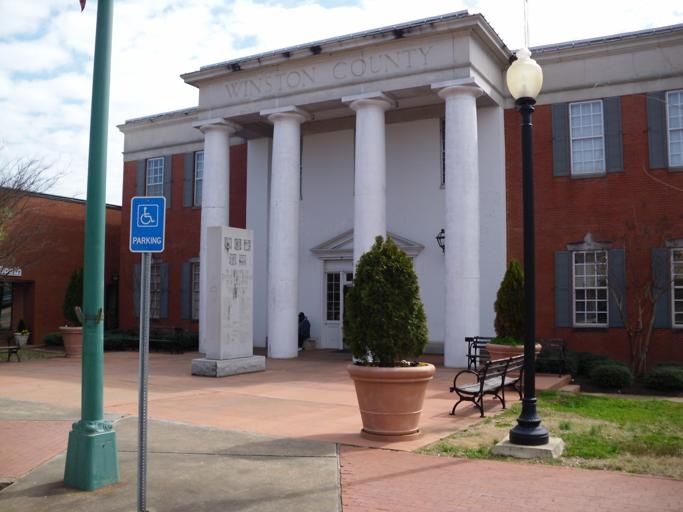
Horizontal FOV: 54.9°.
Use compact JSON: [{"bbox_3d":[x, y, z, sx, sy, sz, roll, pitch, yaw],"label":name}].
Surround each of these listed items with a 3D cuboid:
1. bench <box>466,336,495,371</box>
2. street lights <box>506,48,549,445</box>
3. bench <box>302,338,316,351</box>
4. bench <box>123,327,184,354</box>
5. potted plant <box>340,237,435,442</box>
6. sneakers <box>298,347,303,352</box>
[{"bbox_3d":[3.615,2.563,17.168,1.079,0.716,0.434,2,-9,-16],"label":"bench"},{"bbox_3d":[2.940,-0.273,10.452,0.612,6.397,0.511,5,-7,-45],"label":"street lights"},{"bbox_3d":[-1.193,3.375,24.973,0.372,0.359,0.470,0,-2,15],"label":"bench"},{"bbox_3d":[-7.278,3.376,26.386,4.487,0.895,2.180,-5,-8,43],"label":"bench"},{"bbox_3d":[0.752,1.304,10.754,1.375,3.345,0.696,0,-5,4],"label":"potted plant"},{"bbox_3d":[-1.530,3.508,24.704,0.168,0.131,0.521,1,-6,-1],"label":"sneakers"}]
